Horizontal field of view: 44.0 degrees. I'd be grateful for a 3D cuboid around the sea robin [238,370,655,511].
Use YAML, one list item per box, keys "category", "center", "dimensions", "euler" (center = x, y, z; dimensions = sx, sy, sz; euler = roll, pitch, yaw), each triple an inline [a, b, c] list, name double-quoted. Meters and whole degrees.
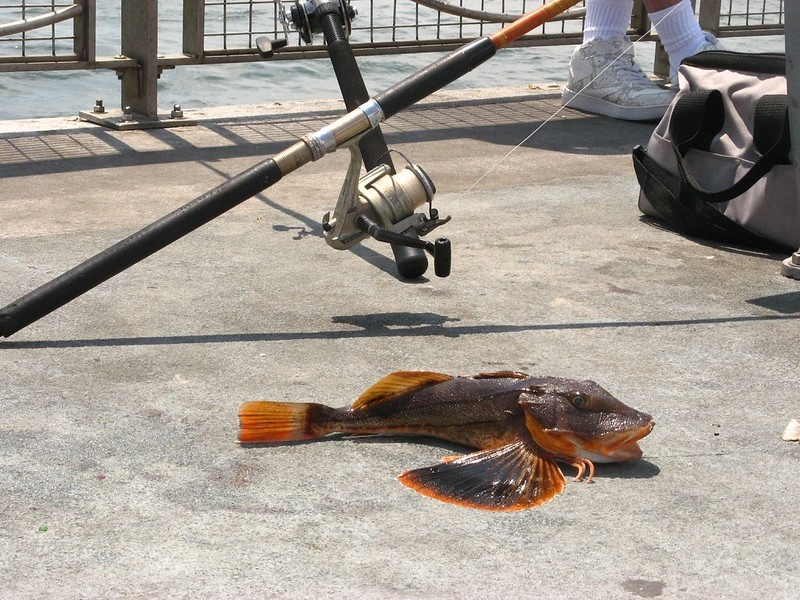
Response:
- category: "sea robin"
  center: [0.089, 0.324, 2.356]
  dimensions: [0.816, 0.127, 0.422]
  euler: [0, 0, 11]
